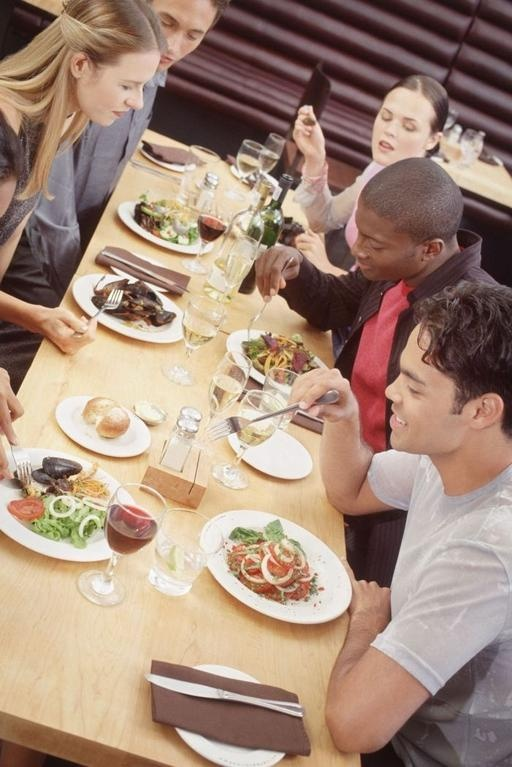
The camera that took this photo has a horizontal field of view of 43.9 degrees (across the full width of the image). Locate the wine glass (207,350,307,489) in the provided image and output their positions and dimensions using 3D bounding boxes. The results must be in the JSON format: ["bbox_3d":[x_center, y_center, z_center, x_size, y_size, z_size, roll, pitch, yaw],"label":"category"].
[{"bbox_3d":[0.006,0.085,1.438,0.227,0.091,0.219,25,9,-39],"label":"wine glass"}]

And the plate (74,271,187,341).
[{"bbox_3d":[-0.324,-0.174,1.668,0.242,0.030,0.216,7,33,-36],"label":"plate"}]

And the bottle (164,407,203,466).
[{"bbox_3d":[-0.140,0.105,1.225,0.049,0.128,0.057,20,18,-16],"label":"bottle"}]

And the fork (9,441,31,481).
[{"bbox_3d":[-0.374,0.128,1.001,0.018,0.014,0.103,4,37,-34],"label":"fork"}]

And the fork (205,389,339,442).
[{"bbox_3d":[0.029,0.068,1.416,0.327,0.027,0.040,-18,68,-13],"label":"fork"}]

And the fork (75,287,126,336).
[{"bbox_3d":[-0.380,-0.188,1.571,0.030,0.026,0.176,42,54,-12],"label":"fork"}]

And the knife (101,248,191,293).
[{"bbox_3d":[-0.335,-0.344,1.891,0.210,0.033,0.143,24,21,-5],"label":"knife"}]

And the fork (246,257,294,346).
[{"bbox_3d":[0.044,-0.280,2.142,0.057,0.381,0.052,7,-27,46],"label":"fork"}]

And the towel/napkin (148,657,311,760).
[{"bbox_3d":[-0.026,0.419,0.820,0.186,0.026,0.121,16,23,-24],"label":"towel/napkin"}]

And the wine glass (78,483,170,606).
[{"bbox_3d":[-0.197,0.226,0.969,0.077,0.184,0.199,23,24,-4],"label":"wine glass"}]
